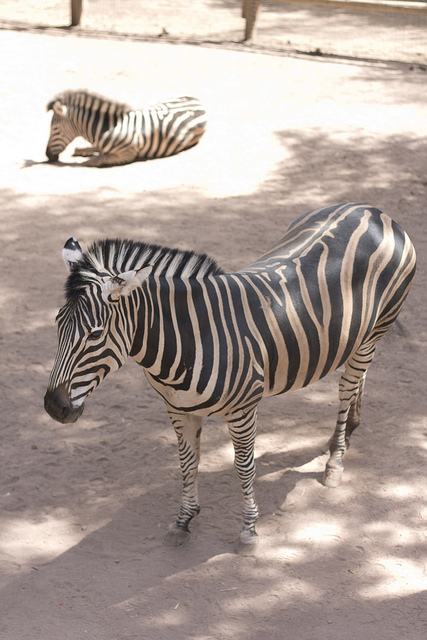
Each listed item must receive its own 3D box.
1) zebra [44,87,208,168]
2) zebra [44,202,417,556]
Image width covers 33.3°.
[{"bbox_3d":[-1.059,-2.363,8.771,1.992,0.817,1.307,-2,21,-13],"label":"zebra"},{"bbox_3d":[0.085,0.331,3.899,0.771,1.504,2.506,1,9,38],"label":"zebra"}]
